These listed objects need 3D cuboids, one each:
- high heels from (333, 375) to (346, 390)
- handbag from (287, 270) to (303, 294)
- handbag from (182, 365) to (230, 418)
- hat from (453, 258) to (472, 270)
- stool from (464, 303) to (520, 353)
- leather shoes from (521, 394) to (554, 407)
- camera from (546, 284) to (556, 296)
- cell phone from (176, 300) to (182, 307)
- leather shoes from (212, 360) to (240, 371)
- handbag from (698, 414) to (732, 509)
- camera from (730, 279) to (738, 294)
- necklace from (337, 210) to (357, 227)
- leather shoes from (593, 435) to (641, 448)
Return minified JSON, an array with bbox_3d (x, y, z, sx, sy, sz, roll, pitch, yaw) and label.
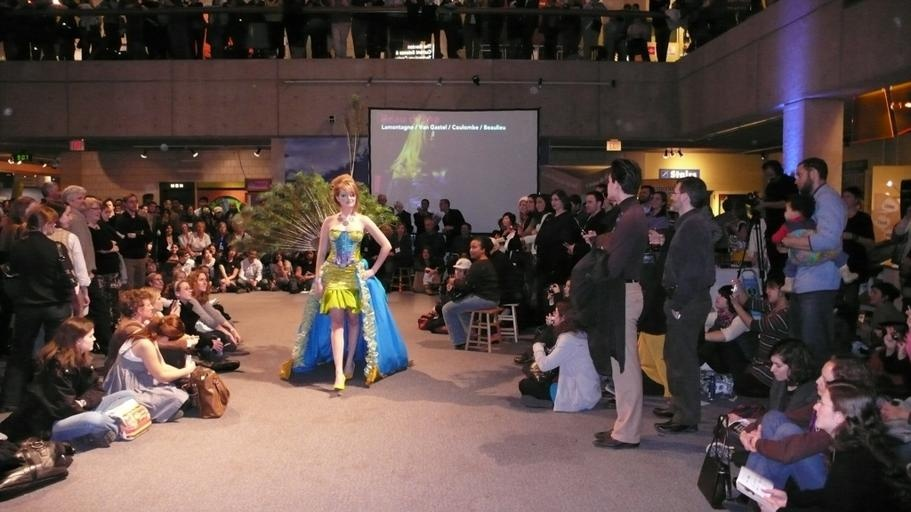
[{"bbox_3d":[-1.634,1.773,9.562,0.191,0.216,0.400,-2,5,-10],"label":"high heels"},{"bbox_3d":[-3.834,0.643,16.183,0.318,0.496,0.132,-9,-34,9],"label":"handbag"},{"bbox_3d":[-3.272,1.788,8.799,0.358,0.503,0.537,-18,15,-5],"label":"handbag"},{"bbox_3d":[0.141,0.131,11.624,0.188,0.126,0.252,-1,-3,33],"label":"hat"},{"bbox_3d":[0.615,1.243,11.552,0.795,0.790,1.006,-6,0,16],"label":"stool"},{"bbox_3d":[1.076,1.951,9.034,0.339,0.086,0.158,5,32,9],"label":"leather shoes"},{"bbox_3d":[1.473,0.537,10.507,0.140,0.182,0.066,6,-37,8],"label":"camera"},{"bbox_3d":[-4.155,0.709,10.188,0.027,0.071,0.076,-1,4,23],"label":"cell phone"},{"bbox_3d":[-3.436,1.653,10.180,0.427,0.154,0.137,-1,-10,-11],"label":"leather shoes"},{"bbox_3d":[2.808,2.229,7.316,0.328,0.897,0.416,-2,6,-3],"label":"handbag"},{"bbox_3d":[3.906,0.425,9.539,0.066,0.194,0.150,2,-20,-11],"label":"camera"},{"bbox_3d":[-1.562,-0.515,9.695,0.206,0.189,0.054,33,-2,7],"label":"necklace"},{"bbox_3d":[1.906,2.206,8.170,0.570,0.214,0.181,-3,-5,4],"label":"leather shoes"}]
